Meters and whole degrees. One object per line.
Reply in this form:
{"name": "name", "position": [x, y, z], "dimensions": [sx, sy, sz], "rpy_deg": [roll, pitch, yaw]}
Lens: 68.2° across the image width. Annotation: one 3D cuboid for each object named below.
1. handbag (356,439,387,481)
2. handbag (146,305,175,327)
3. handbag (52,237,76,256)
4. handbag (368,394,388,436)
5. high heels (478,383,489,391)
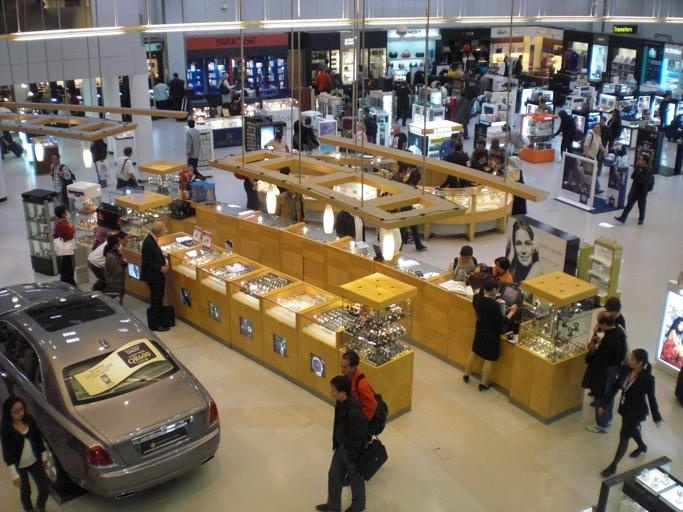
{"name": "handbag", "position": [0.309, 2.011, 4.975], "dimensions": [0.272, 0.372, 0.139], "rpy_deg": [-21, 25, -40]}
{"name": "handbag", "position": [-3.095, 1.028, 8.601], "dimensions": [0.348, 0.309, 0.138], "rpy_deg": [-3, 31, -16]}
{"name": "handbag", "position": [-5.247, -0.171, 9.448], "dimensions": [0.423, 0.333, 0.351], "rpy_deg": [8, 13, 40]}
{"name": "handbag", "position": [0.381, 1.675, 5.115], "dimensions": [0.158, 0.595, 0.392], "rpy_deg": [0, 19, 10]}
{"name": "high heels", "position": [1.995, 1.840, 7.079], "dimensions": [0.061, 0.081, 0.186], "rpy_deg": [11, 19, 41]}
